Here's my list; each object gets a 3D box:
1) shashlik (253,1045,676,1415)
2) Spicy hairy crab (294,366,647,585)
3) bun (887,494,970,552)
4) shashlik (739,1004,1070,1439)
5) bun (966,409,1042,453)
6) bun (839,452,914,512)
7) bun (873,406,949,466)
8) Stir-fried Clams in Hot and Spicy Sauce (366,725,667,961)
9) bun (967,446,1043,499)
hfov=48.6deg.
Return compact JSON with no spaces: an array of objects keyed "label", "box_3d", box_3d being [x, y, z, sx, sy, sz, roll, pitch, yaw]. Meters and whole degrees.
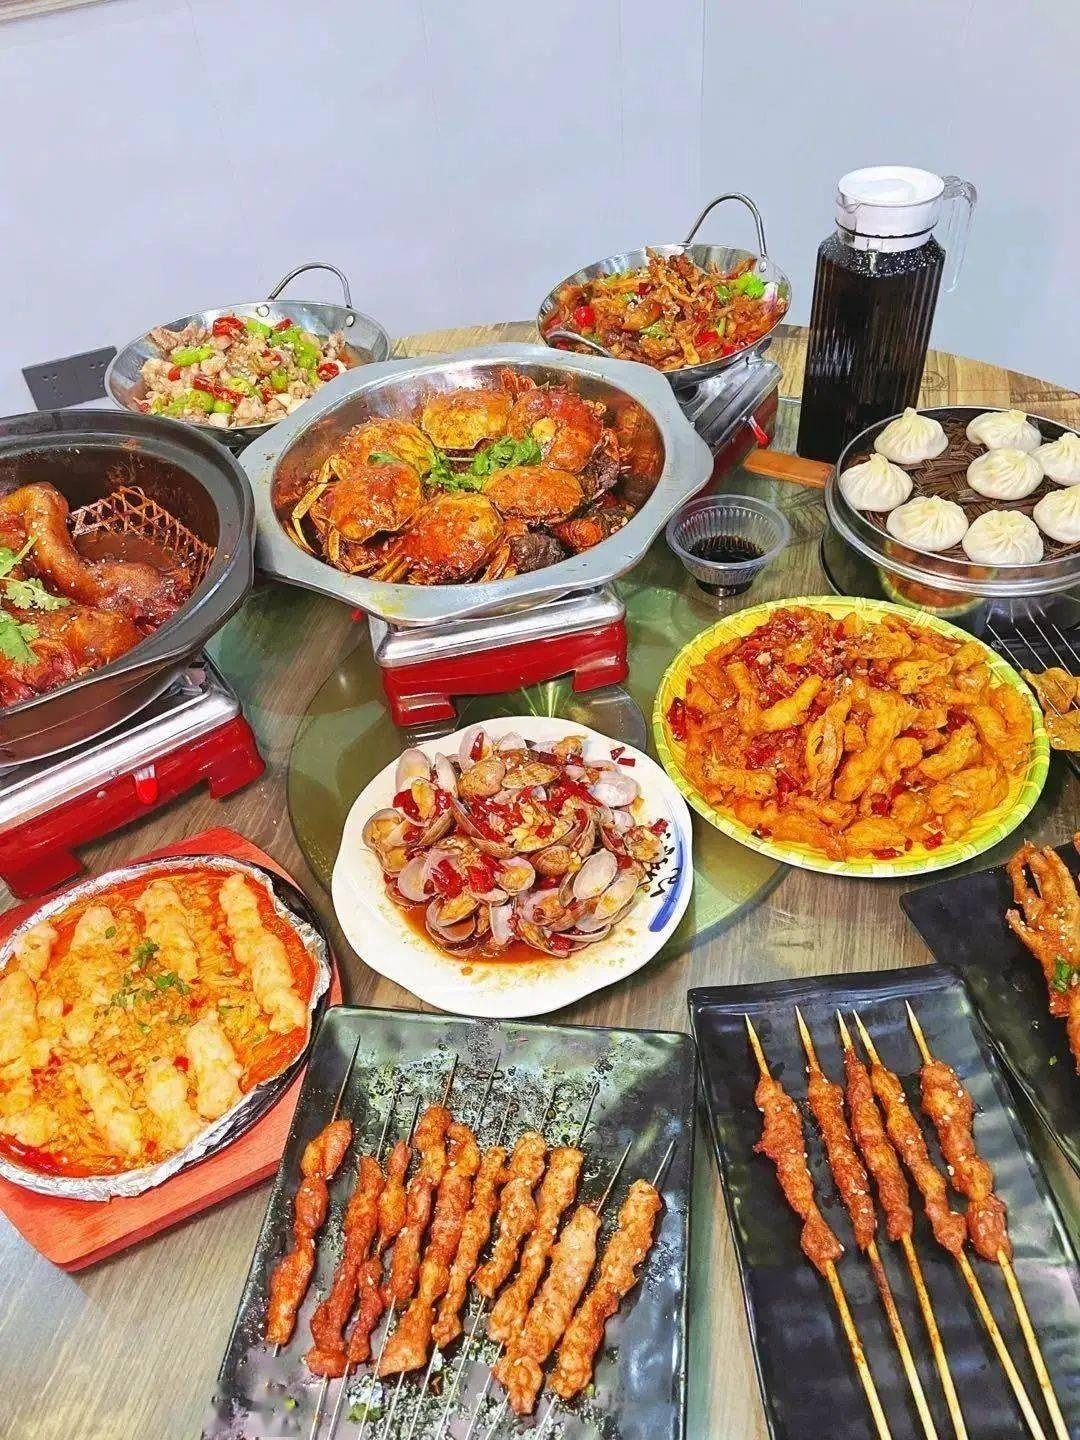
[{"label":"shashlik","box_3d":[-0.086,0.793,1.785,0.478,0.103,0.599,11,42,17]},{"label":"Spicy hairy crab","box_3d":[-0.117,-0.552,2.704,0.638,0.136,0.603,0,38,21]},{"label":"bun","box_3d":[0.839,-0.421,2.604,0.144,0.064,0.142,-38,52,-18]},{"label":"shashlik","box_3d":[0.537,0.727,1.800,0.358,0.122,0.675,-10,40,-8]},{"label":"bun","box_3d":[1.086,-0.682,2.802,0.144,0.063,0.131,-30,48,-17]},{"label":"bun","box_3d":[0.770,-0.550,2.746,0.148,0.101,0.146,26,65,30]},{"label":"bun","box_3d":[0.874,-0.655,2.819,0.152,0.095,0.148,23,64,32]},{"label":"Stir-fried Clams in Hot and Spicy Sauce","box_3d":[-0.034,0.212,2.184,0.400,0.151,0.432,32,57,32]},{"label":"bun","box_3d":[1.035,-0.551,2.671,0.133,0.063,0.128,-32,55,-6]}]
